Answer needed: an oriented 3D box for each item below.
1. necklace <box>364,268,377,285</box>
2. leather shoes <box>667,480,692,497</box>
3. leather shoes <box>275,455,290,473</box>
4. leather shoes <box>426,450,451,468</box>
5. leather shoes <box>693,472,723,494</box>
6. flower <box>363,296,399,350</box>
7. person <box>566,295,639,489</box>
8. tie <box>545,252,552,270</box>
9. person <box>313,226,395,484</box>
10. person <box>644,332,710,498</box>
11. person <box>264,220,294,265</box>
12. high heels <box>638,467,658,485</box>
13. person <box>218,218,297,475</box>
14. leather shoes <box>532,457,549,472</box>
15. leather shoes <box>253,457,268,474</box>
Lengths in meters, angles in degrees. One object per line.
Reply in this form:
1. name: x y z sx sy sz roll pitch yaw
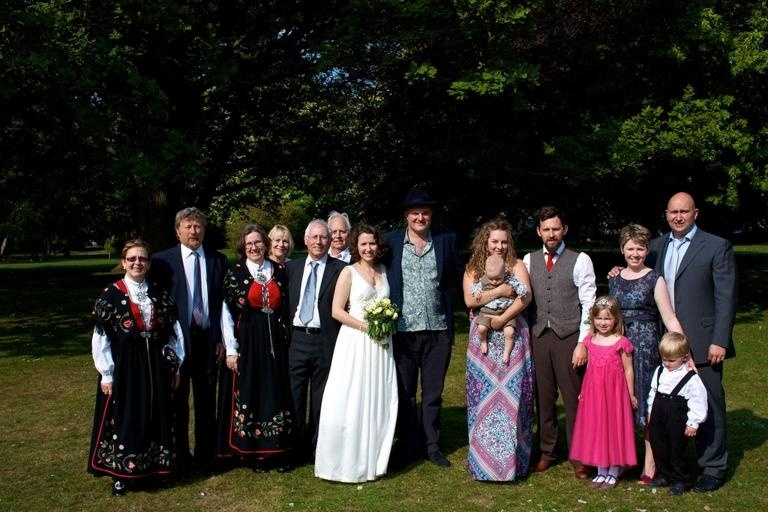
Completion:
1. necklace: -0.204 0.299 11.766 0.221 0.208 0.053 -4 1 -43
2. leather shoes: 4.235 3.340 11.105 0.311 0.118 0.145 15 -36 4
3. leather shoes: -1.532 3.131 11.720 0.222 0.264 0.283 3 -8 -8
4. leather shoes: 0.845 3.125 11.927 0.166 0.155 0.435 -9 -1 -21
5. leather shoes: 4.687 3.284 11.195 0.471 0.141 0.208 2 -1 -35
6. flower: -0.042 1.057 11.561 0.617 0.602 0.479 4 -16 -45
7. person: 3.187 1.812 11.308 0.888 2.640 0.299 -1 0 12
8. tie: 2.507 0.066 11.723 0.070 0.243 0.073 -3 -17 17
9. person: -0.428 1.446 11.654 1.207 3.854 0.450 -1 0 -1
10. person: 4.219 2.247 11.148 0.784 2.286 0.238 -1 0 20
11. person: -1.694 -0.196 12.131 0.640 0.883 0.550 1 -4 -12
12. high heels: 3.840 3.222 11.287 0.185 0.206 0.221 3 -23 22
13. person: -1.954 1.280 11.712 1.060 3.683 0.339 -1 0 -12
14. leather shoes: 2.412 3.175 11.762 0.243 0.224 0.143 28 -13 -33
15. leather shoes: -1.876 3.180 11.715 0.193 0.233 0.255 1 -9 -4
